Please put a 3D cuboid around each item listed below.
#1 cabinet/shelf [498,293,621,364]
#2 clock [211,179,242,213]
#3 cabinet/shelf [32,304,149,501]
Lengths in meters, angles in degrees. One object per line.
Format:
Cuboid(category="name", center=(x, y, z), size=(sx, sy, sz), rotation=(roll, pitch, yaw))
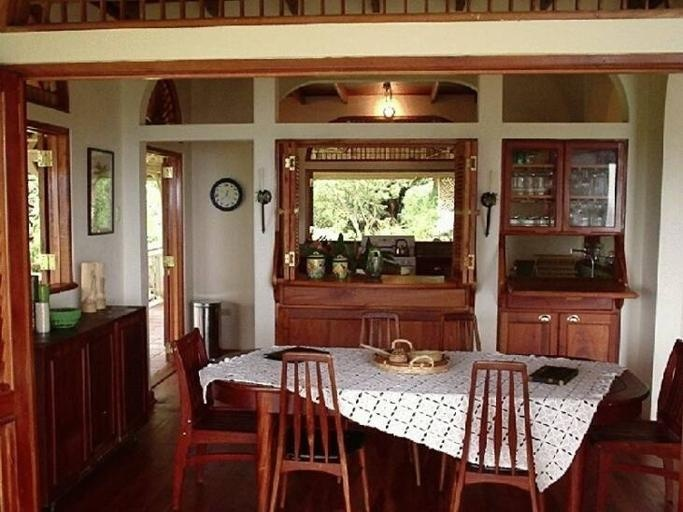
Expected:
Cuboid(category="cabinet/shelf", center=(1.956, 0.620, 5.254), size=(0.585, 0.590, 0.236), rotation=(0, 3, 5))
Cuboid(category="clock", center=(-1.338, -0.710, 7.026), size=(0.369, 0.372, 0.101), rotation=(-1, 5, -14))
Cuboid(category="cabinet/shelf", center=(-1.754, 1.036, 4.145), size=(0.372, 0.917, 1.210), rotation=(-1, 5, 4))
